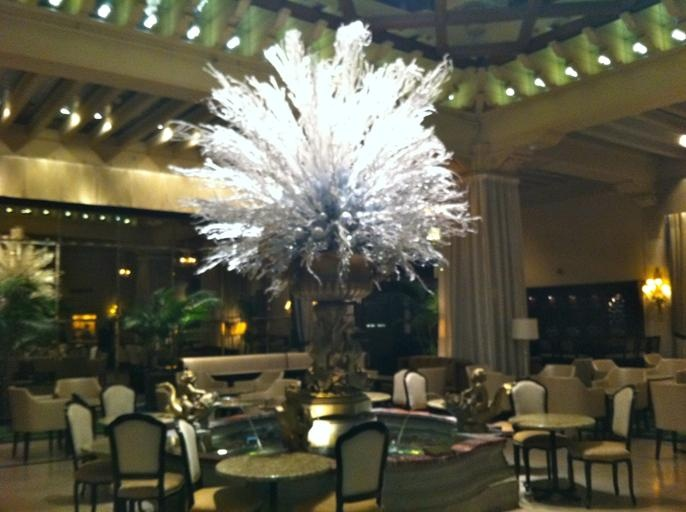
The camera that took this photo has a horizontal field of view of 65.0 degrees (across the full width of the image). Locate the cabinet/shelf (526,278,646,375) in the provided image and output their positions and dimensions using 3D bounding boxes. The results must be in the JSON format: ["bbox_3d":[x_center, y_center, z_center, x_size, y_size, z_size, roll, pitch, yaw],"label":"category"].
[{"bbox_3d":[6.578,1.884,14.322,2.296,2.062,1.229,-5,-13,33],"label":"cabinet/shelf"}]

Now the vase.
[{"bbox_3d":[-0.086,0.597,3.750,0.612,1.099,0.845,-1,-11,-6],"label":"vase"}]
